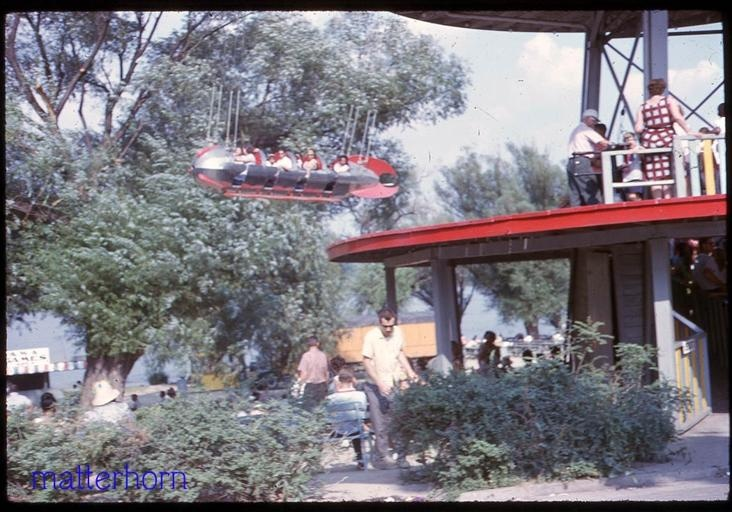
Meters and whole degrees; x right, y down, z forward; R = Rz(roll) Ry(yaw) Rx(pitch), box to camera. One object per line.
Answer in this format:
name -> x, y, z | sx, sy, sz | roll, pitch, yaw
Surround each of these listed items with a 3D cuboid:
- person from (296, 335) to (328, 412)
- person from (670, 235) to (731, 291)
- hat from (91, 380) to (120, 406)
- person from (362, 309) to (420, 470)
person -> -0.838, 2.063, 13.876 | 0.572, 1.370, 0.388 | -5, 12, -11
person -> 5.898, 0.123, 14.613 | 0.740, 0.968, 1.119 | -2, -7, -7
hat -> -3.465, 1.822, 11.024 | 0.294, 0.307, 0.543 | 0, -7, -20
person -> 0.326, 1.900, 12.038 | 0.835, 2.211, 0.948 | 1, 3, 29
